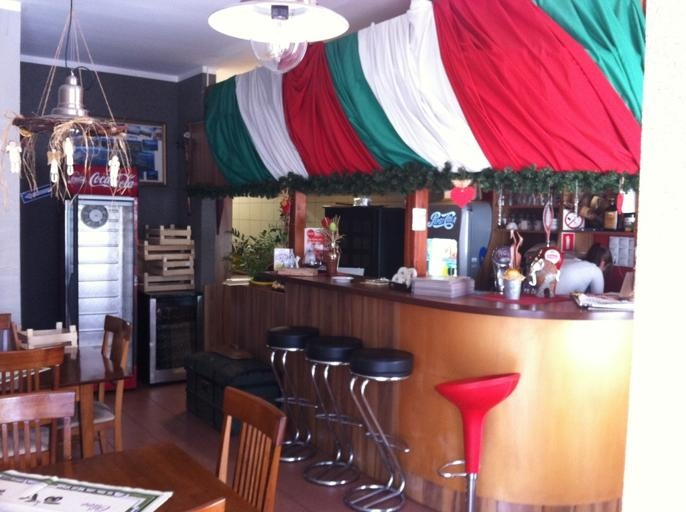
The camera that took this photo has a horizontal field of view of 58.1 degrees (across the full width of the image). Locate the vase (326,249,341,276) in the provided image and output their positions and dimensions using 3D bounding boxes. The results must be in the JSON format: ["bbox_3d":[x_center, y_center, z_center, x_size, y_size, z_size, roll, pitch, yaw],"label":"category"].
[{"bbox_3d":[-0.092,0.067,5.221,0.121,0.209,0.267,0,3,-1],"label":"vase"}]

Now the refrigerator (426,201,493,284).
[{"bbox_3d":[1.409,-0.189,7.737,0.527,1.034,0.538,2,13,39],"label":"refrigerator"}]

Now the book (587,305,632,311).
[{"bbox_3d":[1.632,0.324,3.753,0.272,0.036,0.080,-1,3,-11],"label":"book"}]

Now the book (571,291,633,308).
[{"bbox_3d":[1.650,0.291,3.896,0.364,0.087,0.371,1,3,17],"label":"book"}]

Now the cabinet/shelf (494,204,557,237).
[{"bbox_3d":[2.178,-0.422,7.383,0.577,0.345,0.378,3,4,44],"label":"cabinet/shelf"}]

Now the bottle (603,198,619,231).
[{"bbox_3d":[2.923,-0.430,6.706,0.139,0.312,0.122,1,3,19],"label":"bottle"}]
